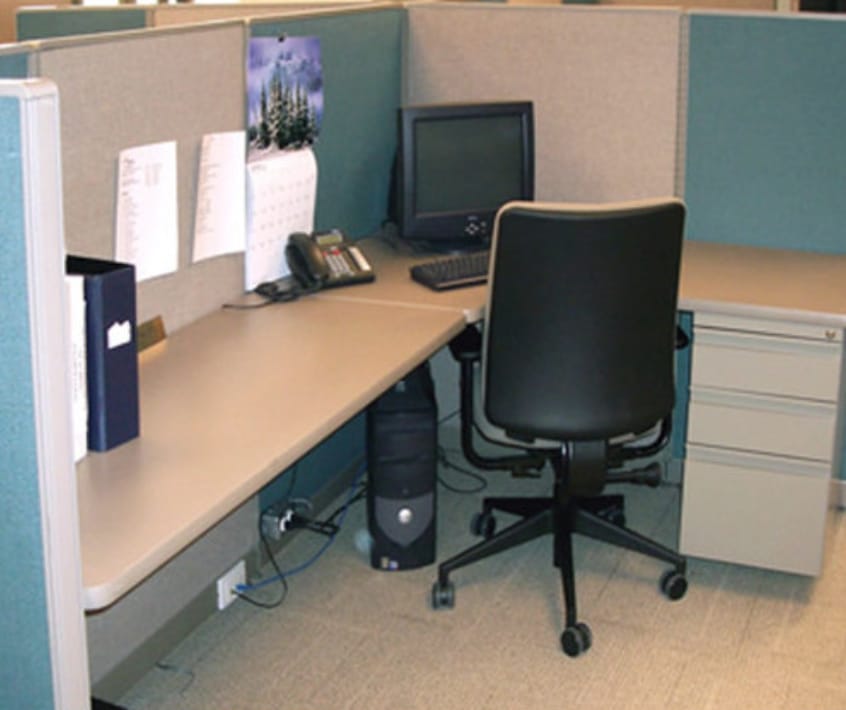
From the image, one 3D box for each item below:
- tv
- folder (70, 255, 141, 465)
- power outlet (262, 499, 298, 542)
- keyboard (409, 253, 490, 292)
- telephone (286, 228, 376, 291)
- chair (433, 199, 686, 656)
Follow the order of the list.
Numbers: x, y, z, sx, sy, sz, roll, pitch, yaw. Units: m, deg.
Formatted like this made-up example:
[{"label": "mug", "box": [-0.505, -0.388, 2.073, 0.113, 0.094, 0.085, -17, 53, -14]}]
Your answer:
[{"label": "tv", "box": [0.109, -0.564, 2.474, 0.474, 0.441, 0.120, -8, 24, -27]}, {"label": "folder", "box": [-0.529, -0.012, 1.368, 0.117, 0.294, 0.170, -9, 21, -19]}, {"label": "power outlet", "box": [-0.433, 0.487, 2.376, 0.035, 0.106, 0.078, 12, 23, 30]}, {"label": "keyboard", "box": [0.076, -0.222, 2.205, 0.207, 0.058, 0.185, -8, 24, -24]}, {"label": "telephone", "box": [-0.245, -0.304, 2.139, 0.184, 0.084, 0.184, -8, 47, -37]}, {"label": "chair", "box": [0.398, 0.118, 2.245, 0.676, 1.146, 0.784, 1, 16, 8]}]
